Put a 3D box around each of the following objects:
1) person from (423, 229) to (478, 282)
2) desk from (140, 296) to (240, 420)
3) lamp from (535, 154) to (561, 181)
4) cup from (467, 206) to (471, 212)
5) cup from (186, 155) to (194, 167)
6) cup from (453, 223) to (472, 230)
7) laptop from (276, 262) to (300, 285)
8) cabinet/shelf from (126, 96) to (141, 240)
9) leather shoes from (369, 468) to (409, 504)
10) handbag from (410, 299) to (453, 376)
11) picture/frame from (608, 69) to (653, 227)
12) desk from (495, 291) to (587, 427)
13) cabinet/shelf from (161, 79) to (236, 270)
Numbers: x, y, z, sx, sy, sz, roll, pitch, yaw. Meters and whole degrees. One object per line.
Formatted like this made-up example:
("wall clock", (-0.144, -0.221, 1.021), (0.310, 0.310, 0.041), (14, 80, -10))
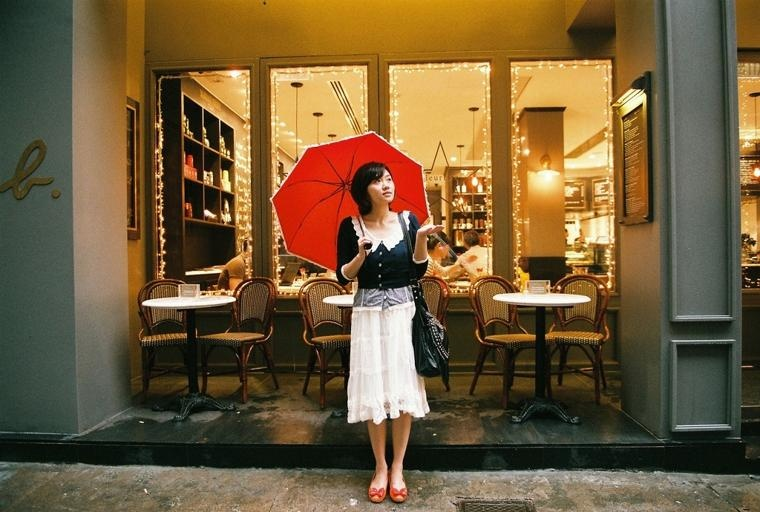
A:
("person", (0.801, 0.061, 7.697), (0.743, 0.589, 0.350), (0, -5, -11))
("desk", (-1.860, 1.005, 6.921), (1.105, 1.245, 1.126), (2, -5, -45))
("lamp", (1.981, -1.076, 7.895), (0.289, 0.305, 0.287), (-2, -2, -21))
("cup", (1.050, -0.558, 7.639), (0.039, 0.071, 0.039), (3, -9, 0))
("cup", (-2.385, -1.201, 8.157), (0.070, 0.138, 0.211), (-2, 0, -9))
("cup", (0.984, -0.350, 7.669), (0.141, 0.050, 0.087), (2, -4, -29))
("laptop", (-1.104, 0.203, 7.814), (0.311, 0.293, 0.240), (7, 15, -20))
("cabinet/shelf", (-2.873, -1.019, 7.550), (0.120, 1.484, 0.254), (-3, 0, 7))
("leather shoes", (0.073, 1.925, 5.407), (0.242, 0.115, 0.342), (-1, -6, 1))
("handbag", (0.424, 0.709, 5.352), (0.306, 0.680, 0.195), (-2, 0, -27))
("picture/frame", (2.400, -0.999, 6.159), (0.155, 1.480, 0.533), (-2, 0, -5))
("desk", (1.579, 0.981, 6.545), (1.137, 1.314, 1.133), (0, -7, 0))
("cabinet/shelf", (-2.199, -0.961, 8.202), (0.675, 2.296, 0.963), (-3, 0, 14))
